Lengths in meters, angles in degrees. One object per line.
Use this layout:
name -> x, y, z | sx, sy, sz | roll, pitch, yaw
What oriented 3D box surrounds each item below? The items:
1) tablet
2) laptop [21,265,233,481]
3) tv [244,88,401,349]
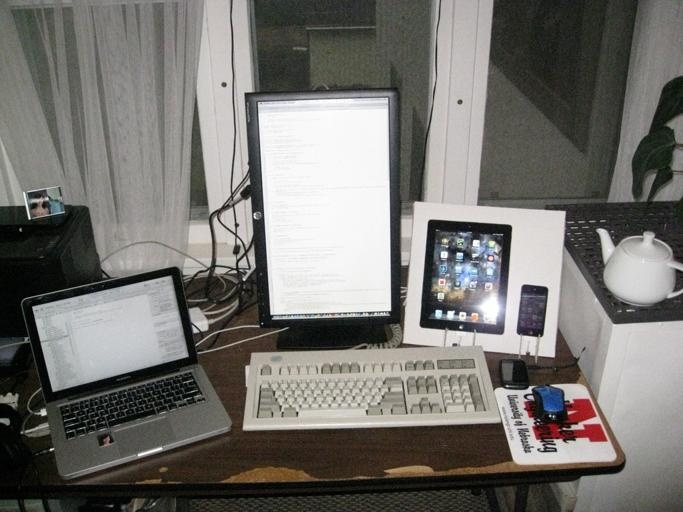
tablet -> 0.360, 0.058, 1.645 | 0.249, 0.324, 0.025 | 4, -6, 17
laptop -> -0.600, 0.324, 1.575 | 0.531, 0.357, 0.521 | -15, 42, -21
tv -> -0.035, -0.148, 1.598 | 0.434, 0.744, 0.316 | 2, 29, 2
